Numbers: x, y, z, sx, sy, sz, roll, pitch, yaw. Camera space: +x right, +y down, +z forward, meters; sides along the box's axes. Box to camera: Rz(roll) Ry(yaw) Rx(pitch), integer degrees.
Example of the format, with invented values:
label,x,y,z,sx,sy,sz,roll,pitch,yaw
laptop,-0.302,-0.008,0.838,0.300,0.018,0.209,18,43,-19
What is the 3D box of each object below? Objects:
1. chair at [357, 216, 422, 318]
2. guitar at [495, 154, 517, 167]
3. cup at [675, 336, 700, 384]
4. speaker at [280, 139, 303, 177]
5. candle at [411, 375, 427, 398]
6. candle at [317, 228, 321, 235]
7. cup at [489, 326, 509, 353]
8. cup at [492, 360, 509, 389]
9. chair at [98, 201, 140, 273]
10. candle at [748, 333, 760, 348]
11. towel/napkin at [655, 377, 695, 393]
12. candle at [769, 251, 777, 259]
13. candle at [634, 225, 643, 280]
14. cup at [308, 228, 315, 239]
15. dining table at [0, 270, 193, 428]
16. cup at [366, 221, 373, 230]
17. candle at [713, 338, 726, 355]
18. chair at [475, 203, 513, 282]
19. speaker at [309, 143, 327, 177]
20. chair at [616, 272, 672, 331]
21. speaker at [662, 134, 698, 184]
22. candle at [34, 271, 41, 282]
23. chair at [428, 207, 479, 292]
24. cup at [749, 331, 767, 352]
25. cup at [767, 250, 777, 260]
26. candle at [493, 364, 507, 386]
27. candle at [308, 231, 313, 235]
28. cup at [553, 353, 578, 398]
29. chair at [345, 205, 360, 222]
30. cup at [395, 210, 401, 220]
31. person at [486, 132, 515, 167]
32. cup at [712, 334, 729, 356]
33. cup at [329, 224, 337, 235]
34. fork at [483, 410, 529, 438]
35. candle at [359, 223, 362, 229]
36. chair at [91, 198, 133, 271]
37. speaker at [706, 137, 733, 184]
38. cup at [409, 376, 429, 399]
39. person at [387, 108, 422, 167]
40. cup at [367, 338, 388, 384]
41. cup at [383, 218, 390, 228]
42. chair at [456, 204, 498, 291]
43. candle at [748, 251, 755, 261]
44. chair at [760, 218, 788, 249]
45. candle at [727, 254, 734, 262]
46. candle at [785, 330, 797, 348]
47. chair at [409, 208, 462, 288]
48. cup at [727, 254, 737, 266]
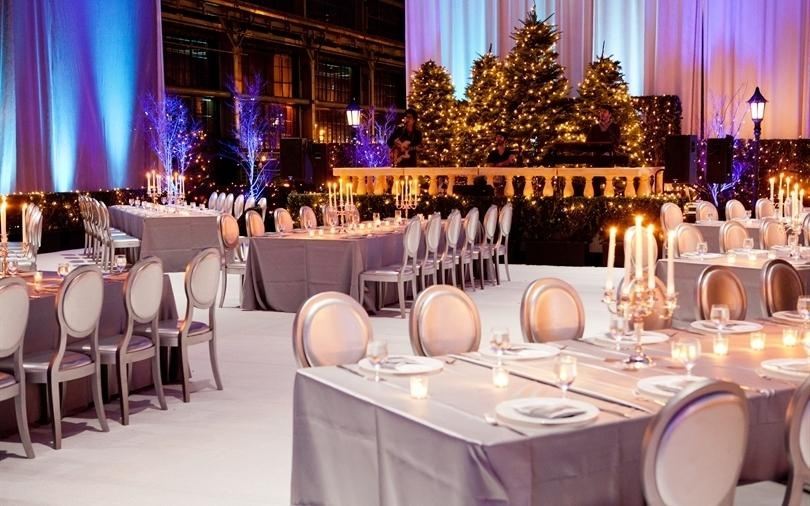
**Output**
label,x,y,z,sx,sy,sz,roll,pitch,yaw
chair,-0.173,0.140,8.778,0.760,1.294,0.826,2,7,-3
guitar,1.937,-1.781,12.893,0.342,0.229,0.460,4,12,19
cup,1.530,0.603,3.681,0.142,0.240,0.144,-2,-6,0
speaker,-2.395,-2.012,14.417,0.490,0.856,0.366,-2,12,-9
candle,0.077,0.694,3.496,0.088,0.108,0.092,0,4,10
candle,-1.166,-0.298,9.264,0.088,0.107,0.094,0,5,7
cup,0.551,0.512,3.916,0.112,0.198,0.121,1,-4,0
cup,0.521,0.672,3.740,0.096,0.171,0.109,-2,4,2
chair,-5.243,-0.359,12.094,0.496,1.189,1.143,-5,9,-37
candle,2.207,0.550,4.218,0.075,0.096,0.080,0,-2,-5
towel/napkin,1.383,0.677,3.448,0.109,0.018,0.114,3,10,27
candle,3.707,0.022,6.789,0.081,0.094,0.079,-4,7,-24
candle,1.277,-0.003,3.659,0.038,0.318,0.306,4,12,20
cup,-1.252,-0.276,9.138,0.135,0.171,0.143,-1,-2,0
dining table,-2.819,0.709,5.702,1.126,0.638,1.194,1,6,19
cup,-0.530,-0.414,10.098,0.111,0.143,0.118,-1,5,0
candle,1.960,0.582,4.184,0.082,0.107,0.094,-1,-4,4
chair,1.384,-0.178,10.894,0.718,1.260,0.742,4,7,41
speaker,-1.845,-1.979,14.433,0.472,0.719,0.165,7,13,30
chair,1.853,0.378,5.260,0.216,0.236,0.299,1,41,32
speaker,5.143,-1.739,12.572,0.600,0.901,0.632,-2,8,3
candle,-3.269,0.207,5.982,0.082,0.096,0.079,-1,3,-35
chair,0.846,-0.030,9.956,0.491,0.887,0.503,21,-8,-16
cup,2.205,0.562,4.220,0.096,0.124,0.103,0,-2,0
cup,3.688,0.020,6.768,0.107,0.115,0.104,-2,3,0
candle,0.527,0.673,3.702,0.081,0.096,0.086,0,3,9
candle,-1.275,-0.280,9.165,0.063,0.077,0.067,0,-4,2
cup,0.838,0.634,3.493,0.092,0.240,0.278,4,12,18
chair,-0.760,-0.567,9.778,0.167,0.255,0.247,-1,-5,-3
cup,-0.101,-0.597,10.528,0.100,0.112,0.197,-3,35,4
person,1.873,-1.944,12.930,0.409,0.773,0.599,8,3,-37
cup,1.963,0.583,4.222,0.106,0.141,0.123,0,-4,3
cup,-0.990,-0.331,9.370,0.096,0.211,0.103,-1,6,0
fork,0.476,0.796,3.164,0.061,0.036,0.304,-6,12,-26
candle,-0.651,-0.396,9.934,0.061,0.096,0.093,0,2,15
chair,-5.095,-0.299,11.727,0.503,1.098,1.263,-2,7,-23
speaker,6.239,-1.849,13.380,0.455,0.901,0.467,6,13,24
cup,0.078,0.704,3.555,0.093,0.108,0.099,-1,4,0
person,0.018,-2.387,13.903,0.646,1.142,1.394,0,12,-1
cup,-0.158,0.598,3.813,0.132,0.261,0.141,0,13,0
cup,-0.273,-0.459,10.375,0.113,0.146,0.120,0,4,0
chair,1.112,-0.088,10.563,0.621,1.174,0.616,-2,4,35
candle,3.522,0.029,6.851,0.079,0.096,0.084,3,4,21
chair,4.400,-0.244,8.028,0.258,0.300,0.688,10,15,38
candle,3.292,0.048,6.813,0.055,0.054,0.064,3,10,22
candle,2.481,0.549,4.326,0.096,0.122,0.100,0,1,27
chair,0.359,-0.015,9.428,0.664,1.213,0.654,5,-5,-40
cup,3.251,0.072,6.697,0.097,0.118,0.104,-1,-4,0
